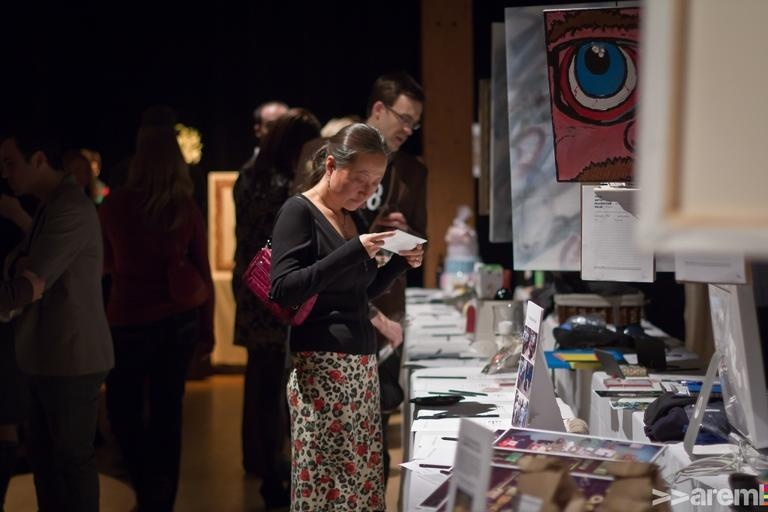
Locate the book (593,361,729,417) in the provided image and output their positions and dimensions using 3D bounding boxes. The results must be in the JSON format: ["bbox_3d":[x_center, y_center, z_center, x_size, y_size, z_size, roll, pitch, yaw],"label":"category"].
[{"bbox_3d":[1.057,0.516,2.596,0.311,0.077,0.296,-3,-2,-3],"label":"book"}]

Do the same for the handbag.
[{"bbox_3d":[-0.409,0.110,2.663,0.285,0.283,0.126,37,10,28],"label":"handbag"}]

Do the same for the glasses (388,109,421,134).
[{"bbox_3d":[0.090,-0.658,3.281,0.034,0.112,0.111,-48,-25,21],"label":"glasses"}]
